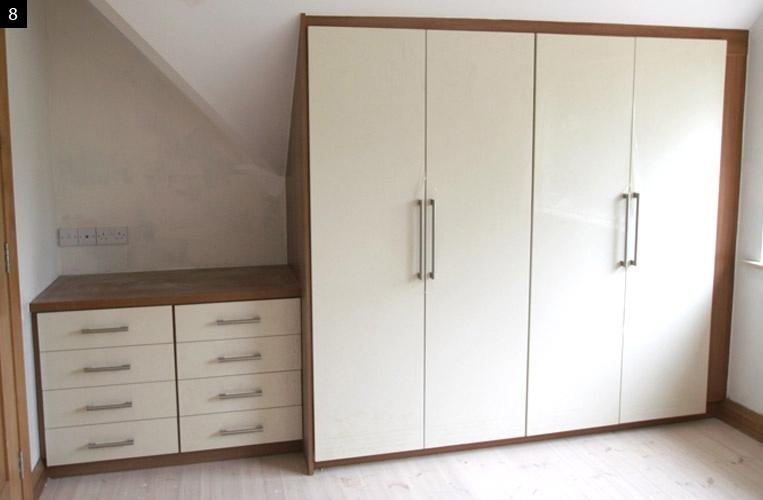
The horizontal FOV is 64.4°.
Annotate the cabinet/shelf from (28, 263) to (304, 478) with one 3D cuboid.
[{"bbox_3d":[-1.249,0.410,3.805,1.936,1.310,0.987,-2,6,-13],"label":"cabinet/shelf"}]

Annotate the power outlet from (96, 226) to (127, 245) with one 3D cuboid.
[{"bbox_3d":[-1.675,-0.079,3.767,0.187,0.126,0.100,-1,6,-18],"label":"power outlet"}]

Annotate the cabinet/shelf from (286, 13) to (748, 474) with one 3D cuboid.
[{"bbox_3d":[0.691,-0.083,3.484,2.552,2.378,0.963,-2,3,-9],"label":"cabinet/shelf"}]
